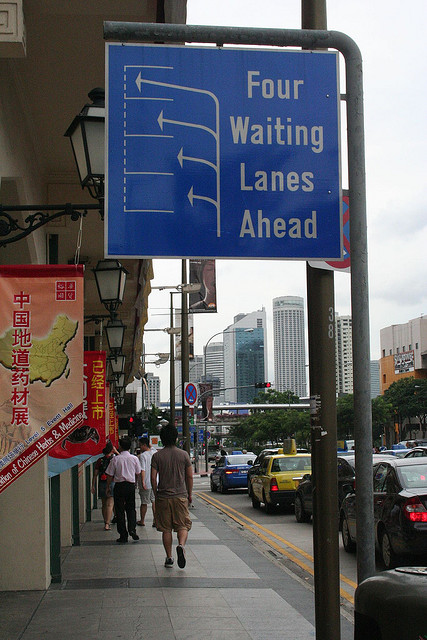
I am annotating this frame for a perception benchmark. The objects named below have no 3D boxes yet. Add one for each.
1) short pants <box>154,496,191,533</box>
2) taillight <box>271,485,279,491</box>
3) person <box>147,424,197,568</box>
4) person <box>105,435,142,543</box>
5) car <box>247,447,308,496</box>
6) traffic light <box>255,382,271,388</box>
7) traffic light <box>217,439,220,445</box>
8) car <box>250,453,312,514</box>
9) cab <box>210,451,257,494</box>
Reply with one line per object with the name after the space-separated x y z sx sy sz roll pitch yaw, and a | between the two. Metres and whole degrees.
-0.471 2.269 9.850 0.486 0.667 0.324 0 -6 4 | short pants
1.427 3.940 19.348 0.153 0.129 0.050 -4 -6 19 | taillight
-0.494 2.072 9.806 0.523 1.698 0.445 -6 -9 31 | person
-1.560 2.927 14.389 0.641 1.771 2.795 -1 -6 -6 | person
1.722 4.575 24.190 1.003 1.594 2.958 4 -2 -15 | car
3.154 4.018 52.225 0.898 0.350 3.827 -3 -7 5 | traffic light
0.994 25.252 171.317 0.503 0.912 0.620 1 32 -14 | traffic light
1.680 3.883 20.595 1.270 1.507 3.516 -1 -5 -7 | car
0.734 5.603 30.063 1.378 1.520 3.835 3 -9 -10 | cab
